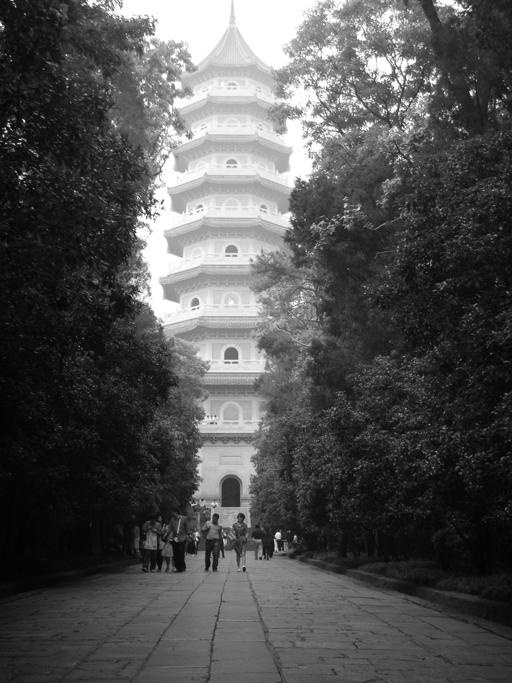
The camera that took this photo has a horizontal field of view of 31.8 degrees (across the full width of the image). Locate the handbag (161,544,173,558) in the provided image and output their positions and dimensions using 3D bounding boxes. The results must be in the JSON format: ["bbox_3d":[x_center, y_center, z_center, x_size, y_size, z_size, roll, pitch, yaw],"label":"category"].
[{"bbox_3d":[-1.817,4.285,18.475,0.235,0.272,0.609,1,-23,-6],"label":"handbag"}]

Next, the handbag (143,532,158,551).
[{"bbox_3d":[-2.118,4.060,18.190,0.269,0.353,0.581,1,-22,-7],"label":"handbag"}]
